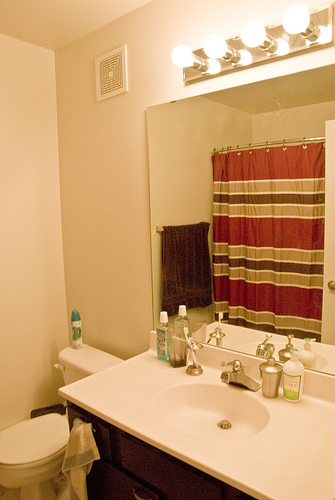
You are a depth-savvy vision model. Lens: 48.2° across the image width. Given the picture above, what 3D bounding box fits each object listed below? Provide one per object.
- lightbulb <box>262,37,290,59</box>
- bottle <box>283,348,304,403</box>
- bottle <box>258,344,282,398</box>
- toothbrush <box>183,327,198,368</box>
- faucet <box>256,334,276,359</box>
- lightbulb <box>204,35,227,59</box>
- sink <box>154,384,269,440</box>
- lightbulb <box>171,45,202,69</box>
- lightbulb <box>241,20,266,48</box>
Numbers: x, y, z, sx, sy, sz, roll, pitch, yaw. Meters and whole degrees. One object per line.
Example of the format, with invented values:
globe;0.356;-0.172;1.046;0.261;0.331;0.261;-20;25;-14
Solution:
lightbulb;0.335;-0.621;1.141;0.070;0.049;0.058;1;5;25
bottle;0.367;0.369;1.094;0.055;0.148;0.068;0;5;18
bottle;0.309;0.385;1.124;0.064;0.106;0.072;0;5;18
toothbrush;0.083;0.348;1.365;0.023;0.148;0.039;-13;-23;0
faucet;0.326;0.331;1.268;0.041;0.083;0.075;1;1;11
lightbulb;0.154;-0.636;1.175;0.077;0.059;0.068;-2;5;-4
sink;0.121;0.482;1.120;0.320;0.084;0.216;-1;5;1
lightbulb;0.066;-0.650;1.279;0.067;0.057;0.117;2;6;32
lightbulb;0.256;-0.619;1.077;0.086;0.059;0.061;-5;6;-34
